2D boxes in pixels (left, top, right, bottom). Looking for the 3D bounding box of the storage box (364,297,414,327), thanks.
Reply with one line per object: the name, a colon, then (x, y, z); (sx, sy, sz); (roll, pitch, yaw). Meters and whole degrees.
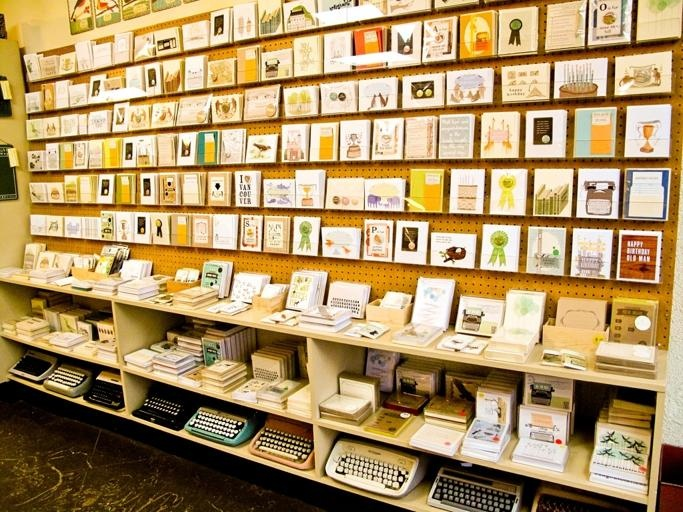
storage box: (0.268, 0.343, 2.882); (0.168, 0.073, 0.164); (7, 11, 28)
